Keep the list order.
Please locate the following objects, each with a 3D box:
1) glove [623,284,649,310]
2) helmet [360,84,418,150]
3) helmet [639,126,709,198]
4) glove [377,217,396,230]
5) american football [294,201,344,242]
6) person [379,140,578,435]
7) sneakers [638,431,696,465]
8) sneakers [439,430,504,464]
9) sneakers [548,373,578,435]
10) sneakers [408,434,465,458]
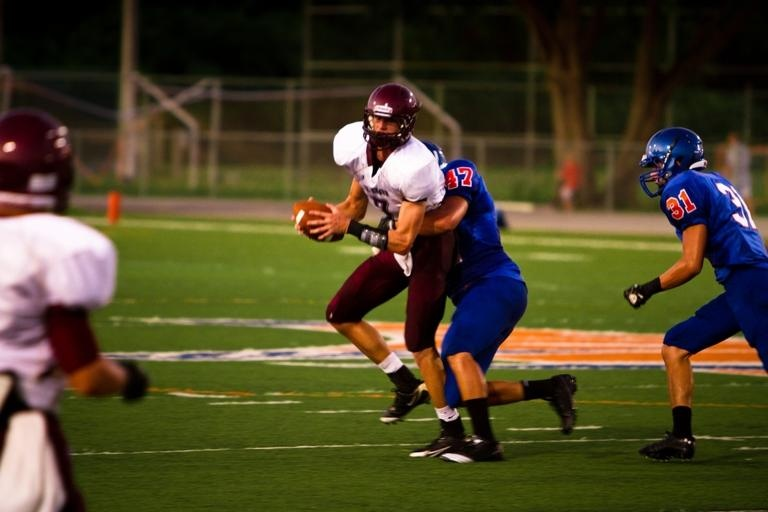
[{"bbox_3d":[1.480,0.230,6.083,0.182,0.093,0.084,3,4,-44],"label":"glove"},{"bbox_3d":[0.028,-0.797,5.833,0.309,0.375,0.258,1,1,-2],"label":"helmet"},{"bbox_3d":[1.751,-0.599,6.362,0.536,0.426,0.381,1,1,14],"label":"helmet"},{"bbox_3d":[0.001,-0.191,6.060,0.086,0.079,0.098,0,-9,9],"label":"glove"},{"bbox_3d":[-0.409,-0.210,5.941,0.312,0.165,0.205,15,-5,5],"label":"american football"},{"bbox_3d":[0.604,0.256,6.035,0.946,1.789,0.398,1,2,-39],"label":"person"},{"bbox_3d":[1.606,1.096,5.888,0.391,0.168,0.132,1,-2,7],"label":"sneakers"},{"bbox_3d":[0.479,1.096,5.897,0.366,0.136,0.131,1,-2,-4],"label":"sneakers"},{"bbox_3d":[1.120,0.887,6.202,0.134,0.330,0.220,-7,-44,28],"label":"sneakers"},{"bbox_3d":[0.254,1.084,5.968,0.378,0.131,0.116,-7,-15,4],"label":"sneakers"}]
